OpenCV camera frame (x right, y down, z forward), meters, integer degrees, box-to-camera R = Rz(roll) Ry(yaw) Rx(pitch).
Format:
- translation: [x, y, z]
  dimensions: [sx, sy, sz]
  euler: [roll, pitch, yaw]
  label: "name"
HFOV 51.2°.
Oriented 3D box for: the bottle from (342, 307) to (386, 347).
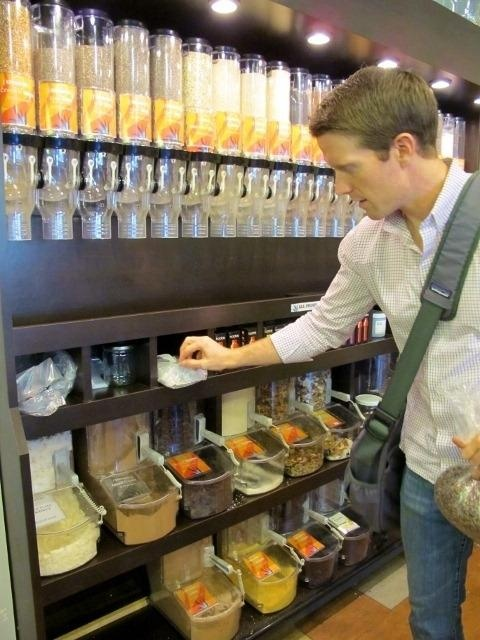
- translation: [0.520, 0.030, 2.063]
  dimensions: [0.189, 0.068, 0.138]
  euler: [-5, 10, -19]
  label: "bottle"
